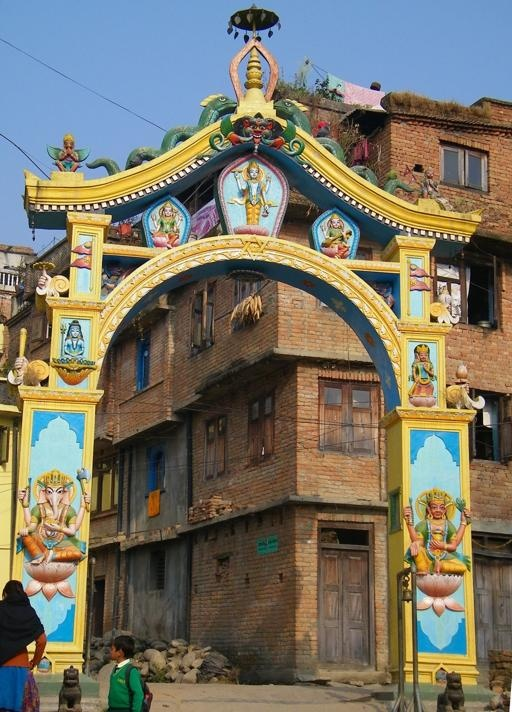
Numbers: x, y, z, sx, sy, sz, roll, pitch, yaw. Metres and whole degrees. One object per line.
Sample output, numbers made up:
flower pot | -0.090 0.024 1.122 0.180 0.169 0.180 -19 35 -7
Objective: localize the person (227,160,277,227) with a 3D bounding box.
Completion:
person | -0.079 -1.861 17.779 0.709 0.938 0.164 7 -17 -21
